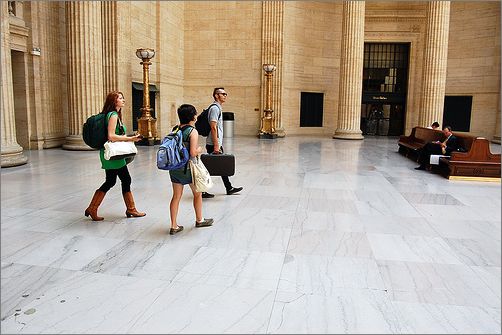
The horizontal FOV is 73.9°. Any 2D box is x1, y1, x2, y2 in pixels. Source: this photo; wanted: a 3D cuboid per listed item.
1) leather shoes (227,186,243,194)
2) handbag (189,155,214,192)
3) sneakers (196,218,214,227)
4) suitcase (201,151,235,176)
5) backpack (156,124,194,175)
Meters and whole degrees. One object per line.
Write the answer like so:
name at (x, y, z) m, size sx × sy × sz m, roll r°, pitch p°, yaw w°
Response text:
leather shoes at (-0.410, 0.521, 7.673) m, size 0.402 × 0.148 × 0.132 m, roll -5°, pitch 10°, yaw -12°
handbag at (-0.841, 0.130, 5.297) m, size 0.339 × 0.614 × 0.392 m, roll -3°, pitch 16°, yaw -11°
sneakers at (-0.835, 0.939, 5.729) m, size 0.253 × 0.088 × 0.116 m, roll -3°, pitch 6°, yaw -13°
suitcase at (-0.699, -0.071, 6.565) m, size 0.600 × 0.441 × 0.177 m, roll 1°, pitch 16°, yaw 5°
backpack at (-1.232, -0.261, 5.095) m, size 0.508 × 0.621 × 0.694 m, roll 7°, pitch 11°, yaw 31°
